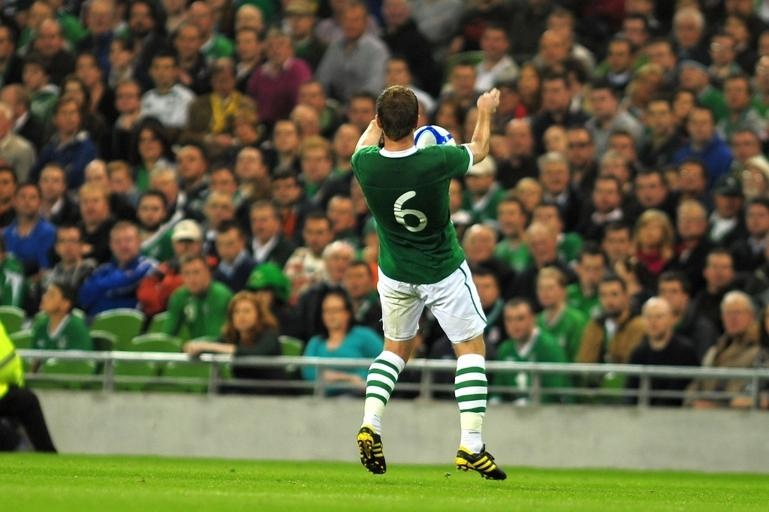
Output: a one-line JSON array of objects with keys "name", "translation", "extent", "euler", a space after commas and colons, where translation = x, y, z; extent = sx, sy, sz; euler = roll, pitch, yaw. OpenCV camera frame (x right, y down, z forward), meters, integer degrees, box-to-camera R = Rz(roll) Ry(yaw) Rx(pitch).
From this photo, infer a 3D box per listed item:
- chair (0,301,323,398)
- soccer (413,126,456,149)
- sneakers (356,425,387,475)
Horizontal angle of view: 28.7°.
[{"name": "chair", "translation": [-2.665, 1.364, 19.211], "extent": [3.918, 0.697, 0.368], "euler": [1, 6, 6]}, {"name": "soccer", "translation": [0.538, -1.348, 17.005], "extent": [0.353, 0.202, 0.287], "euler": [2, 5, 6]}, {"name": "sneakers", "translation": [-0.155, 2.181, 16.699], "extent": [0.264, 0.556, 0.284], "euler": [-19, 8, 18]}]
